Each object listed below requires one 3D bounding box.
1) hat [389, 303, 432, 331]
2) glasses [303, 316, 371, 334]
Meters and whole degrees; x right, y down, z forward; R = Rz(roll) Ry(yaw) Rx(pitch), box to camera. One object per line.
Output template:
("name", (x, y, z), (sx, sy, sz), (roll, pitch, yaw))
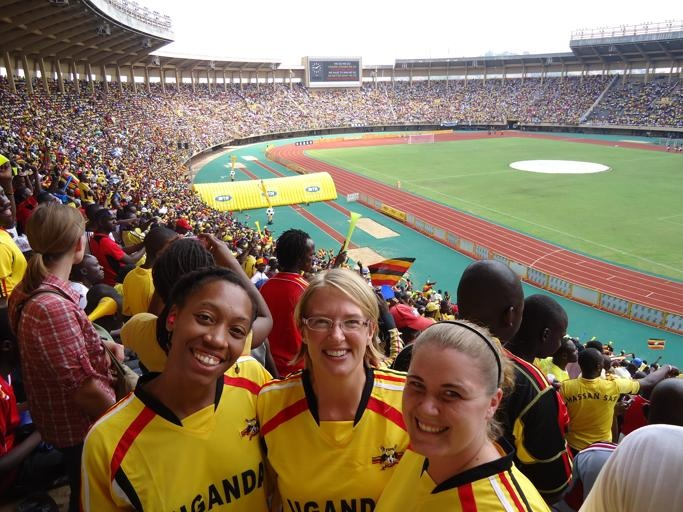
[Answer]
("hat", (0.890, 0.770, 5.942), (0.564, 0.213, 0.333), (2, 9, -2))
("glasses", (-0.019, 0.426, 2.920), (0.393, 0.092, 0.086), (3, 21, -5))
